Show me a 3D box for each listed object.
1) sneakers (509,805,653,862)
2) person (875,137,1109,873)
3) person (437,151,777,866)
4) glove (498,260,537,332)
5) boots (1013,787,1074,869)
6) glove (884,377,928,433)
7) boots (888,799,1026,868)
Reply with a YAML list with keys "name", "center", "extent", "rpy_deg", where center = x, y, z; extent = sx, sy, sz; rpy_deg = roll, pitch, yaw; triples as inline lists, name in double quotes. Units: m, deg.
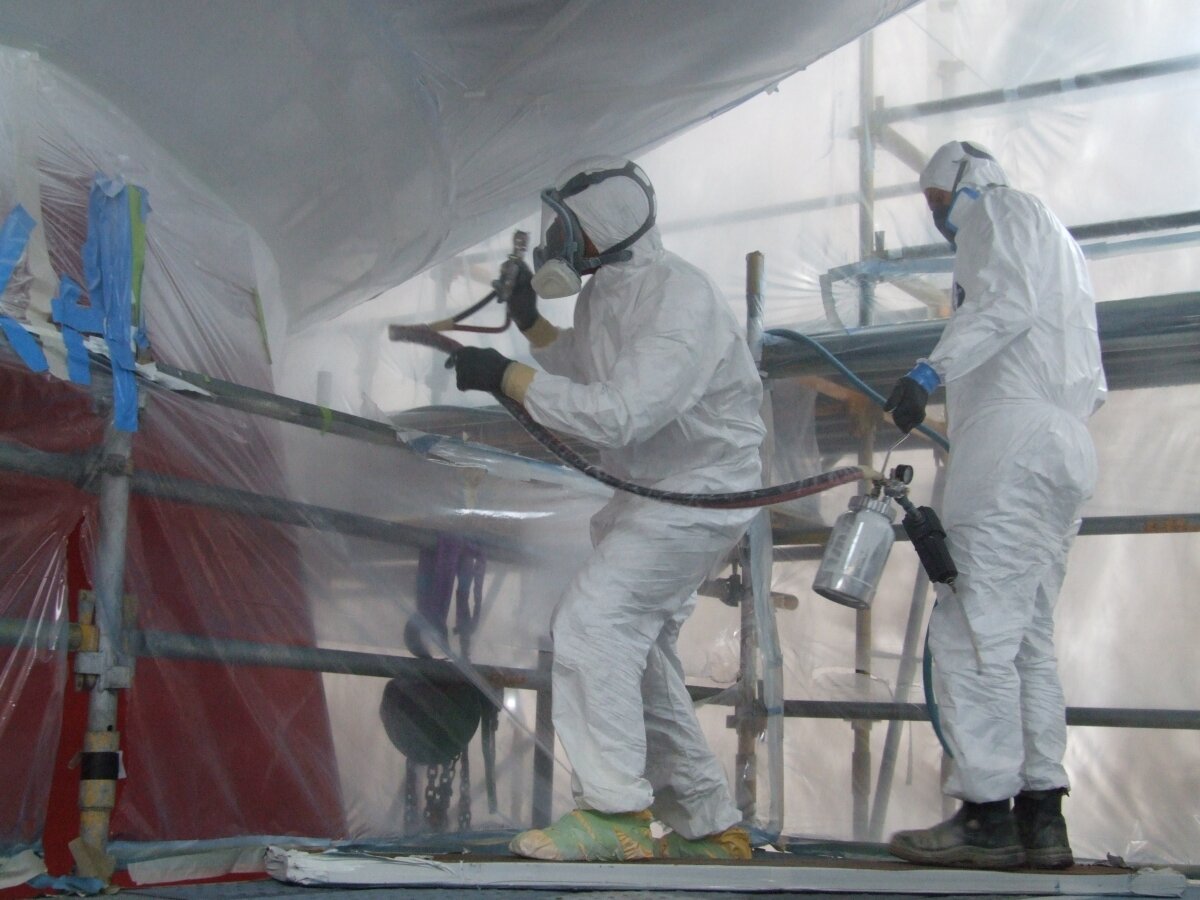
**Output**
- name: "sneakers"
  center: [-0.030, 0.968, 3.648]
  extent: [0.371, 0.149, 0.133]
  rpy_deg: [10, -30, -18]
- name: "person"
  center: [1.061, 0.084, 3.990]
  extent: [0.638, 2.009, 0.426]
  rpy_deg: [-3, -15, 9]
- name: "person"
  center: [0.063, 0.155, 3.901]
  extent: [0.684, 1.781, 0.738]
  rpy_deg: [-8, -17, 27]
- name: "glove"
  center: [-0.228, -0.426, 4.056]
  extent: [0.038, 0.092, 0.160]
  rpy_deg: [7, -54, 12]
- name: "boots"
  center: [1.148, 1.011, 3.974]
  extent: [0.120, 0.219, 0.306]
  rpy_deg: [7, -17, -18]
- name: "glove"
  center: [0.792, -0.126, 3.938]
  extent: [0.109, 0.145, 0.052]
  rpy_deg: [55, -19, -25]
- name: "boots"
  center: [0.942, 1.010, 3.912]
  extent: [0.340, 0.234, 0.148]
  rpy_deg: [0, -13, 19]
